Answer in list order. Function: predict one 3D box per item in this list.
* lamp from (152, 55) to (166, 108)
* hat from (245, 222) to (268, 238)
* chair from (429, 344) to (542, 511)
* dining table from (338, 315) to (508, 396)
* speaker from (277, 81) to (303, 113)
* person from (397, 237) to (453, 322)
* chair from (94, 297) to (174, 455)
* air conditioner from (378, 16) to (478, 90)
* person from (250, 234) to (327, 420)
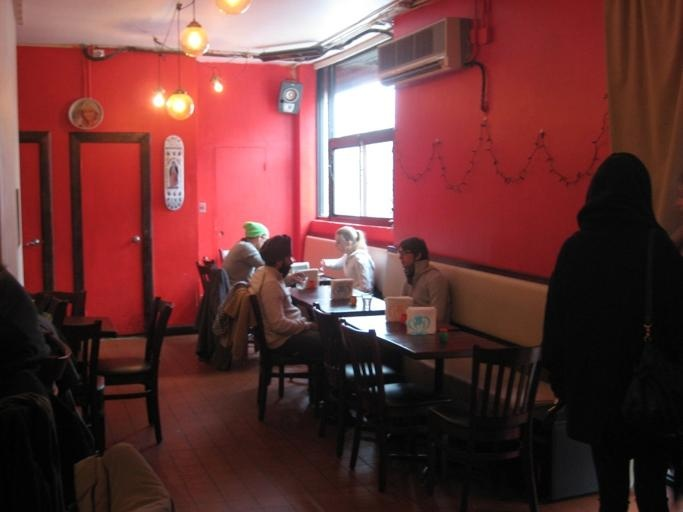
[{"bbox_3d":[-2.349,-2.271,7.200,0.183,0.721,0.571,-3,8,-17],"label":"lamp"},{"bbox_3d":[-1.023,-0.308,6.844,0.256,0.157,0.179,0,7,-40],"label":"hat"},{"bbox_3d":[0.921,0.992,3.653,0.669,1.088,0.895,2,8,18],"label":"chair"},{"bbox_3d":[0.623,0.787,4.312,0.652,0.372,1.490,1,0,-6],"label":"dining table"},{"bbox_3d":[-0.751,-2.388,8.590,0.361,0.520,0.297,10,-4,2],"label":"speaker"},{"bbox_3d":[0.711,0.315,5.283,0.466,0.916,0.566,-5,7,-39],"label":"person"},{"bbox_3d":[-1.686,0.889,4.492,0.691,0.984,0.681,0,1,-42],"label":"chair"},{"bbox_3d":[0.810,-1.989,5.482,0.317,0.479,1.067,-5,9,-32],"label":"air conditioner"},{"bbox_3d":[-0.429,0.586,5.132,0.815,1.536,0.676,-2,8,-27],"label":"person"}]
